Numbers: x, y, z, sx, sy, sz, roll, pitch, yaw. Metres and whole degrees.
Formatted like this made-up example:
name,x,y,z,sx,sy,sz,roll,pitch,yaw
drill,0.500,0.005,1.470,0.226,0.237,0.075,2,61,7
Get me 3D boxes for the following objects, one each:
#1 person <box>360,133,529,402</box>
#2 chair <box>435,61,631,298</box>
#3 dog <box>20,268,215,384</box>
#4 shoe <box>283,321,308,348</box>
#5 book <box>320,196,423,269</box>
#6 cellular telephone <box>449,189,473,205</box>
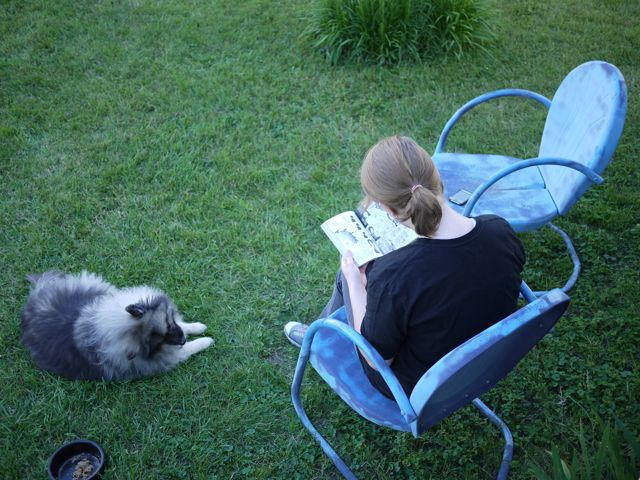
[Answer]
name,x,y,z,sx,sy,sz,roll,pitch,yaw
person,0.788,0.241,3.871,0.808,1.807,1.007,-29,51,0
chair,1.771,-0.432,4.925,1.488,1.844,1.353,-6,52,15
dog,-1.701,0.745,4.819,1.227,0.529,0.843,5,57,0
shoe,-0.201,0.720,4.878,0.099,0.124,0.285,17,28,-45
book,0.339,-0.050,4.371,0.653,0.166,0.465,-23,59,-27
cellular telephone,1.136,-0.333,4.867,0.112,0.022,0.201,23,50,18
